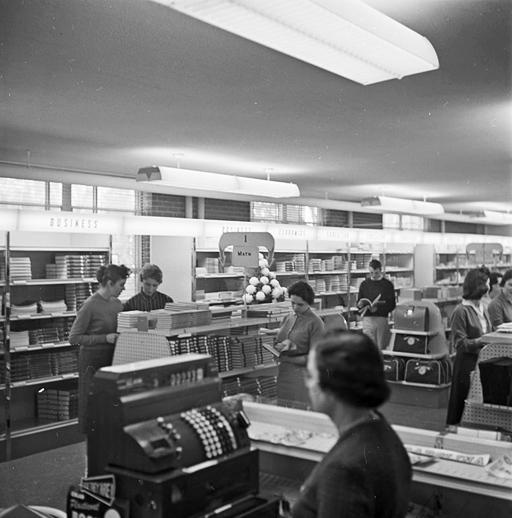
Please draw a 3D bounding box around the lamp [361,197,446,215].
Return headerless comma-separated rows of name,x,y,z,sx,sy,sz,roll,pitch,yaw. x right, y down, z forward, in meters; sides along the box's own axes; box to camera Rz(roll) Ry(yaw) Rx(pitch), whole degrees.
lamp,2.828,-1.066,9.083,0.584,0.284,2.223,0,0,44
